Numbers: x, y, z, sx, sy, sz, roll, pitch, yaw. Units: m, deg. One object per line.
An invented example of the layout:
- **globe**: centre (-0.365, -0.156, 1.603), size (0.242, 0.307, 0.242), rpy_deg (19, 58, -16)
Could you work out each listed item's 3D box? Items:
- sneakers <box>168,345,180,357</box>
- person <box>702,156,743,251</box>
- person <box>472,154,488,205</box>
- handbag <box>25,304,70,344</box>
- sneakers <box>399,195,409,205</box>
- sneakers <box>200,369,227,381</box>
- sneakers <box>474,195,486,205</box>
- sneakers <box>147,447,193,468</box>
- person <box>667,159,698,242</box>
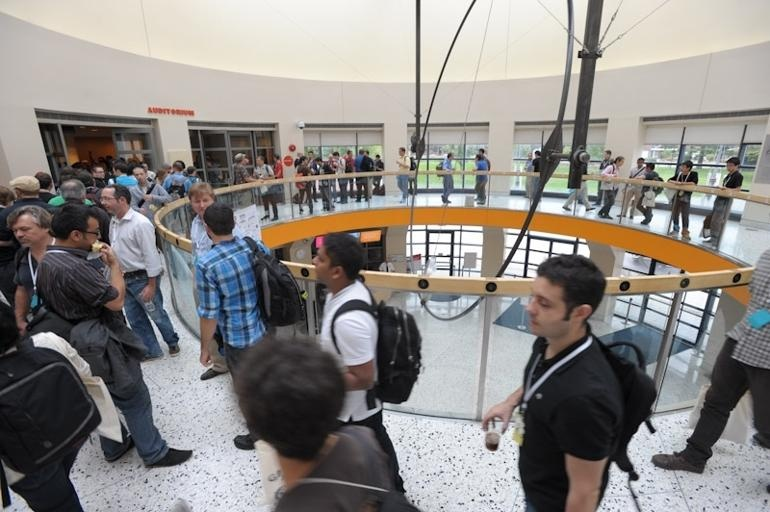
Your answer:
- **sneakers**: centre (-2.392, 1.069, 5.227), size (0.064, 0.071, 0.169), rpy_deg (1, 20, 0)
- **person**: centre (6.508, -1.031, 8.915), size (0.413, 1.653, 1.222), rpy_deg (15, 23, 34)
- **person**: centre (2.728, -2.217, 13.130), size (0.373, 1.564, 0.963), rpy_deg (5, 19, 11)
- **handbag**: centre (-2.639, 0.537, 3.620), size (0.253, 0.176, 0.129), rpy_deg (29, 8, -14)
- **sneakers**: centre (0.531, -1.646, 13.399), size (0.291, 0.292, 0.167), rpy_deg (1, 15, -7)
- **sneakers**: centre (-1.837, 1.269, 4.957), size (0.265, 0.090, 0.087), rpy_deg (3, 16, -32)
- **sneakers**: centre (2.751, -1.625, 13.404), size (0.297, 0.276, 0.211), rpy_deg (6, 18, 13)
- **sneakers**: centre (-1.915, 1.791, 4.089), size (0.344, 0.117, 0.150), rpy_deg (-6, 20, -22)
- **person**: centre (6.192, -1.156, 9.554), size (0.462, 1.543, 0.788), rpy_deg (12, 22, 28)
